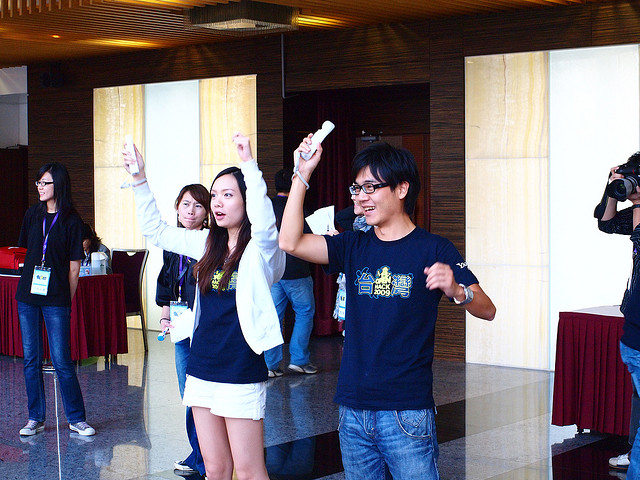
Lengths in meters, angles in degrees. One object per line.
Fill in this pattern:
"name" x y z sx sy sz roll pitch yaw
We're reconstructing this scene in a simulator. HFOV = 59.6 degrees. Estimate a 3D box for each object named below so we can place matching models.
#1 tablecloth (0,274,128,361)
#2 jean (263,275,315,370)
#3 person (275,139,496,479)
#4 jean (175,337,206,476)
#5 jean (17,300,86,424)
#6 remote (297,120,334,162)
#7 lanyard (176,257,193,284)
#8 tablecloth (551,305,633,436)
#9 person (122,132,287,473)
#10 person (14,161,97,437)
"tablecloth" -2.948 0.896 6.625 1.650 1.120 0.993 -1 -2 22
"jean" -0.295 0.890 6.071 0.436 0.976 0.335 0 2 -1
"person" 0.211 0.244 1.940 0.699 1.196 0.356 0 2 26
"jean" -0.828 1.060 3.549 0.161 0.926 0.570 -1 2 -13
"jean" -2.076 0.879 4.335 0.493 1.170 0.289 -3 -5 -4
"remote" -0.002 -0.382 2.050 0.074 0.211 0.050 31 -22 22
"lanyard" -0.859 0.200 3.547 0.027 0.209 0.037 23 15 -26
"tablecloth" 1.995 0.982 4.136 0.516 0.848 0.231 0 2 23
"person" -0.368 0.300 2.453 0.444 1.454 0.319 1 2 34
"person" -2.080 0.458 4.352 0.491 2.113 0.576 -2 2 -38
